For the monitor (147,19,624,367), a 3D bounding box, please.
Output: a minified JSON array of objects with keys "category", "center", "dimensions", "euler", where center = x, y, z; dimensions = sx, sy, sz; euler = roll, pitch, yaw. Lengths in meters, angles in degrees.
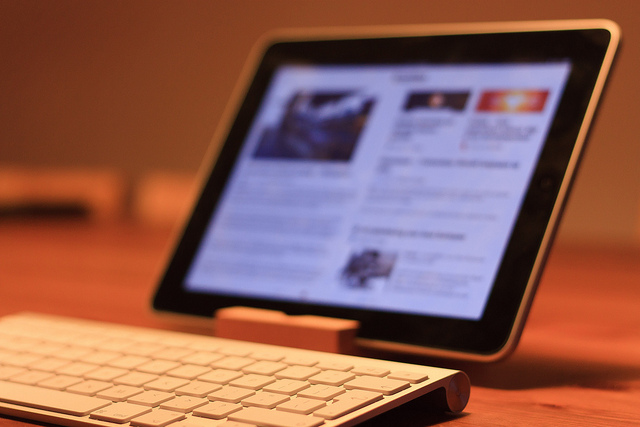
[{"category":"monitor","center":[0.053,-0.048,0.673],"dimensions":[0.468,0.317,0.212],"euler":[9,12,37]}]
